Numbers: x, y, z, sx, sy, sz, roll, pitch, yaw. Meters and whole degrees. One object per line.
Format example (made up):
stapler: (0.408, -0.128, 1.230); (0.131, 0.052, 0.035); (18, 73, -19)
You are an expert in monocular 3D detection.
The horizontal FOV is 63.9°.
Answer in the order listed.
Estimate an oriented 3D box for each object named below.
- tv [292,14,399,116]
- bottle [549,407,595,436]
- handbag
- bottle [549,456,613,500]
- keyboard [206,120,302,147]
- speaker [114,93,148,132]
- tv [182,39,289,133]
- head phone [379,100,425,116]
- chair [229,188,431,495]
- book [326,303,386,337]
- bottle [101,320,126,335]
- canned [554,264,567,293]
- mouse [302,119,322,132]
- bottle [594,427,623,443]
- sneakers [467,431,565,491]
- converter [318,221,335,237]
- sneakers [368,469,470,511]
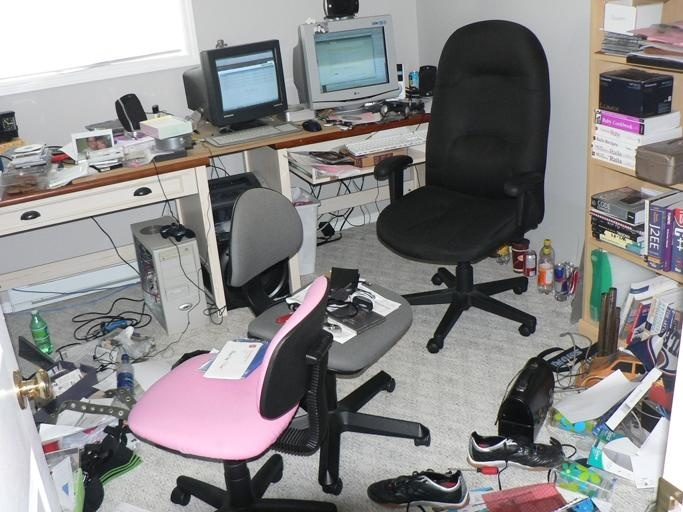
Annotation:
tv: (0.016, -1.254, 3.585); (0.601, 0.493, 0.350); (-15, 19, -19)
bottle: (0.962, 0.690, 2.290); (0.115, 0.039, 0.091); (12, 48, 38)
handbag: (0.788, 0.595, 2.300); (0.161, 0.270, 0.313); (8, 28, 33)
bottle: (0.916, 0.845, 2.071); (0.164, 0.051, 0.118); (19, 37, 33)
keyboard: (-0.510, -0.711, 3.188); (0.539, 0.035, 0.254); (-20, 29, -26)
speaker: (-1.162, -0.790, 3.034); (0.141, 0.188, 0.099); (-19, 28, -26)
tv: (-0.583, -1.020, 3.230); (0.545, 0.519, 0.562); (-19, 33, -34)
head phone: (0.388, -0.911, 3.397); (0.217, 0.068, 0.145); (4, 28, 23)
chair: (-0.042, 0.288, 2.304); (0.840, 1.052, 0.813); (8, 22, 31)
book: (0.062, 0.244, 2.190); (0.132, 0.028, 0.134); (-20, 39, -41)
bottle: (-1.322, 0.399, 3.171); (0.114, 0.041, 0.087); (-17, 25, -32)
canned: (1.245, 0.125, 3.126); (0.066, 0.144, 0.107); (5, 27, 22)
mouse: (-0.172, -0.768, 3.237); (0.105, 0.047, 0.142); (-13, 26, -14)
bottle: (1.053, 0.702, 2.153); (0.086, 0.068, 0.014); (4, 8, 13)
sneakers: (0.673, 0.788, 2.112); (0.316, 0.126, 0.168); (-1, 32, 10)
converter: (-0.111, -0.191, 4.029); (0.107, 0.113, 0.092); (13, 17, -9)
sneakers: (0.294, 0.861, 2.065); (0.383, 0.146, 0.143); (3, 20, 6)
